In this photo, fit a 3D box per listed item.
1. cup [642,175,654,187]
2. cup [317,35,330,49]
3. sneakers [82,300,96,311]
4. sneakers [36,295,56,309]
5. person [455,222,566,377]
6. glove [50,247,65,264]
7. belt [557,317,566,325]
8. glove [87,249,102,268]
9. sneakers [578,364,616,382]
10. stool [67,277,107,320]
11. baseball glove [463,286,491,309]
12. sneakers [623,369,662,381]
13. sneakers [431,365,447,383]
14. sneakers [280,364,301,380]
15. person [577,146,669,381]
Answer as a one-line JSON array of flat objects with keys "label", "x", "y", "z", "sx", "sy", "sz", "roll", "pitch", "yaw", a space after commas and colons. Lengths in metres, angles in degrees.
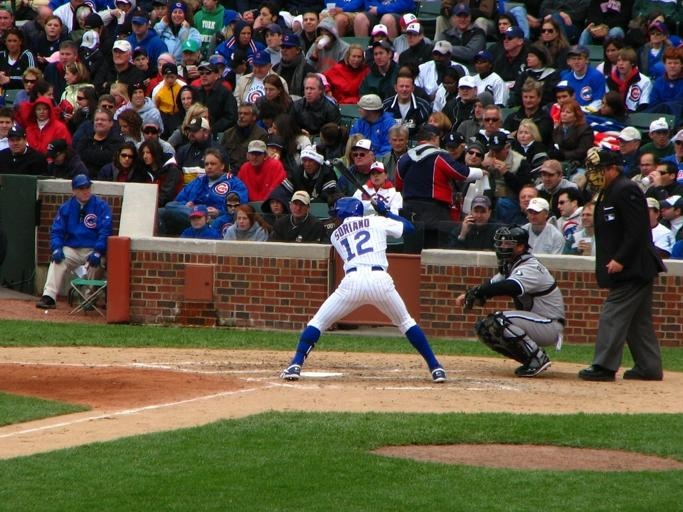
[{"label": "cup", "x": 4.851, "y": -1.210, "z": 26.822, "sx": 0.157, "sy": 0.169, "sz": 0.170, "roll": -36, "pitch": -8, "yaw": -6}, {"label": "cup", "x": -0.336, "y": -3.953, "z": 30.802, "sx": 0.158, "sy": 0.260, "sz": 0.264, "roll": 9, "pitch": -5, "yaw": 4}, {"label": "sneakers", "x": -4.169, "y": 0.827, "z": 27.651, "sx": 0.170, "sy": 0.157, "sz": 0.143, "roll": 0, "pitch": 10, "yaw": 14}, {"label": "sneakers", "x": -4.907, "y": 0.752, "z": 27.812, "sx": 0.334, "sy": 0.233, "sz": 0.279, "roll": -4, "pitch": 15, "yaw": -17}, {"label": "person", "x": 2.497, "y": 0.665, "z": 23.918, "sx": 1.303, "sy": 2.090, "sz": 0.635, "roll": 2, "pitch": 14, "yaw": 7}, {"label": "glove", "x": -4.692, "y": -0.016, "z": 27.771, "sx": 0.216, "sy": 0.231, "sz": 0.134, "roll": -9, "pitch": 17, "yaw": -34}, {"label": "belt", "x": 3.137, "y": 0.931, "z": 24.140, "sx": 0.090, "sy": 0.108, "sz": 0.107, "roll": 3, "pitch": 19, "yaw": 1}, {"label": "glove", "x": -4.067, "y": 0.043, "z": 27.614, "sx": 0.243, "sy": 0.260, "sz": 0.180, "roll": 0, "pitch": 14, "yaw": -4}, {"label": "sneakers", "x": 3.591, "y": 1.695, "z": 23.793, "sx": 0.470, "sy": 0.230, "sz": 0.226, "roll": 8, "pitch": 2, "yaw": 7}, {"label": "stool", "x": -4.138, "y": 0.695, "z": 27.715, "sx": 0.661, "sy": 0.533, "sz": 0.968, "roll": 1, "pitch": -3, "yaw": -3}, {"label": "baseball glove", "x": 1.847, "y": 0.597, "z": 23.835, "sx": 0.268, "sy": 0.168, "sz": 0.363, "roll": -7, "pitch": -5, "yaw": -26}, {"label": "sneakers", "x": 4.258, "y": 1.659, "z": 23.942, "sx": 0.492, "sy": 0.220, "sz": 0.206, "roll": 6, "pitch": 2, "yaw": 20}, {"label": "sneakers", "x": 1.327, "y": 1.656, "z": 23.395, "sx": 0.234, "sy": 0.256, "sz": 0.346, "roll": 1, "pitch": 14, "yaw": 4}, {"label": "sneakers", "x": -0.724, "y": 1.621, "z": 23.268, "sx": 0.256, "sy": 0.289, "sz": 0.315, "roll": 0, "pitch": 14, "yaw": -4}, {"label": "person", "x": 4.020, "y": 0.142, "z": 23.819, "sx": 1.118, "sy": 3.219, "sz": 0.991, "roll": 3, "pitch": 14, "yaw": 9}]
